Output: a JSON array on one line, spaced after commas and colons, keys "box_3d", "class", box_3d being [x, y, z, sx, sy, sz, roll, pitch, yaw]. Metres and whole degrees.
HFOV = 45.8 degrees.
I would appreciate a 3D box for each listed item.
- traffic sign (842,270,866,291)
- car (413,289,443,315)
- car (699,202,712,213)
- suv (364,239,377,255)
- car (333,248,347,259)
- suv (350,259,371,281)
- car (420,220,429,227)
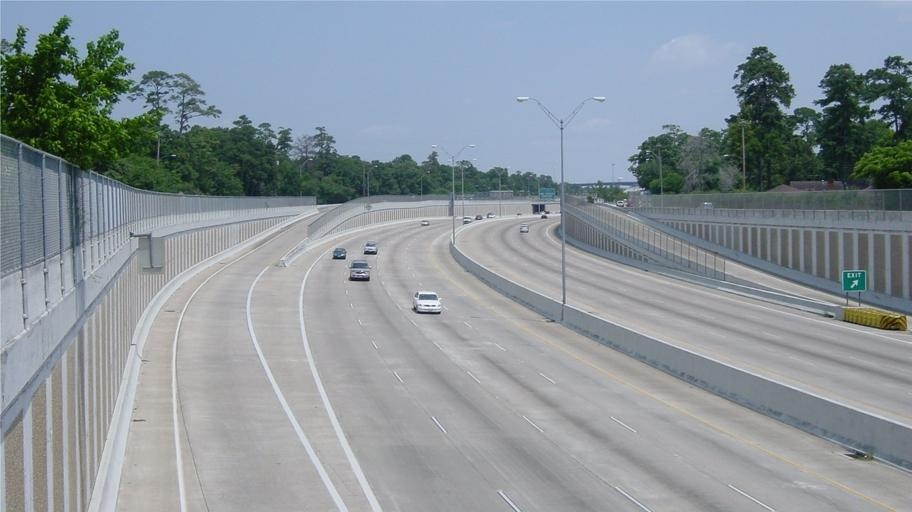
[{"box_3d": [31.169, 2.022, 84.085, 1.943, 1.403, 0.255, 0, -10, 3], "class": "traffic sign"}, {"box_3d": [-2.474, 3.933, 88.997, 2.275, 1.387, 2.388, 0, 10, -6], "class": "car"}, {"box_3d": [28.175, -5.248, 120.362, 0.715, 1.341, 2.618, 1, 9, -2], "class": "car"}, {"box_3d": [-9.917, -0.695, 123.206, 1.571, 0.989, 2.544, 0, 9, -6], "class": "suv"}, {"box_3d": [-12.917, -0.130, 117.774, 1.531, 0.931, 3.122, -1, -1, -7], "class": "car"}, {"box_3d": [-9.448, 1.558, 104.159, 2.466, 1.731, 4.939, -1, 0, -7], "class": "suv"}, {"box_3d": [-5.062, -4.760, 164.722, 1.691, 0.775, 2.835, 0, -2, 1], "class": "car"}]
